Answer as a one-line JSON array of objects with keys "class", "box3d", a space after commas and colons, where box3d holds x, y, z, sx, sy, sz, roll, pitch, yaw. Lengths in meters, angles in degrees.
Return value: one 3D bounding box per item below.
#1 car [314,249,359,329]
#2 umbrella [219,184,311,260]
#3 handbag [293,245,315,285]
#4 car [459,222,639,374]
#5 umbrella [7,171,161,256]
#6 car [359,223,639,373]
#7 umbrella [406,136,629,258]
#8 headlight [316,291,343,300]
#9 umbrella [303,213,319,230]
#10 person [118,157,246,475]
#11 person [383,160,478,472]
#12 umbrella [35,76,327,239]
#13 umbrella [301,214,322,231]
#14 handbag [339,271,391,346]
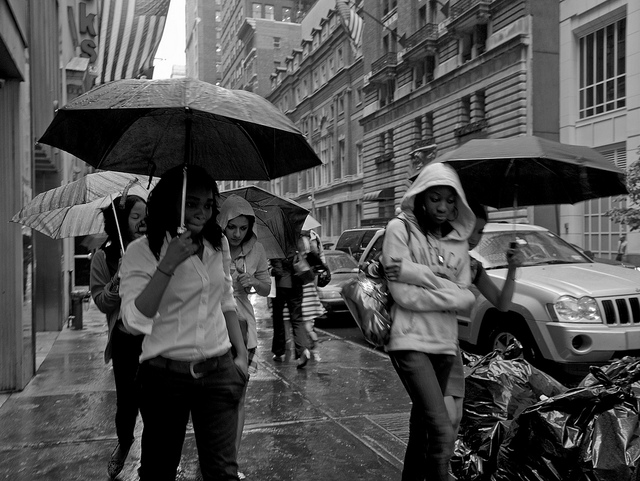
[{"class": "car", "box3d": [0.381, 1.059, 14.292, 0.974, 1.577, 2.335, -1, 1, 3]}, {"class": "umbrella", "box3d": [-0.627, -0.287, 7.556, 0.863, 0.300, 0.921, -17, -48, 10]}, {"class": "handbag", "box3d": [-0.281, 0.340, 9.265, 0.209, 0.565, 0.169, -24, 27, 4]}, {"class": "car", "box3d": [2.902, 0.732, 8.228, 1.518, 1.539, 3.071, 1, -3, -24]}, {"class": "umbrella", "box3d": [-2.704, -0.137, 6.435, 0.795, 0.534, 0.836, -15, -35, 24]}, {"class": "car", "box3d": [2.373, 0.747, 8.605, 1.791, 1.754, 3.746, 1, -3, -31]}, {"class": "umbrella", "box3d": [1.678, -0.504, 5.010, 1.177, 0.694, 1.194, 0, -1, -32]}, {"class": "headlight", "box3d": [0.216, 1.190, 13.795, 0.368, 0.107, 0.401, 0, 1, -1]}, {"class": "umbrella", "box3d": [-0.146, -0.304, 10.047, 0.218, 0.235, 0.208, 0, -15, -10]}, {"class": "person", "box3d": [-0.788, 0.452, 3.759, 0.766, 1.907, 0.458, -1, 1, -25]}, {"class": "person", "box3d": [0.777, 0.476, 4.425, 0.530, 2.067, 0.614, 0, 1, 37]}, {"class": "umbrella", "box3d": [-0.962, -0.576, 4.334, 1.791, 0.987, 1.420, -1, 1, 3]}, {"class": "umbrella", "box3d": [-0.105, -0.295, 10.044, 0.230, 0.120, 0.230, 2, -10, -43]}, {"class": "handbag", "box3d": [0.304, 0.485, 4.443, 0.351, 0.438, 0.155, -29, 1, -32]}]
